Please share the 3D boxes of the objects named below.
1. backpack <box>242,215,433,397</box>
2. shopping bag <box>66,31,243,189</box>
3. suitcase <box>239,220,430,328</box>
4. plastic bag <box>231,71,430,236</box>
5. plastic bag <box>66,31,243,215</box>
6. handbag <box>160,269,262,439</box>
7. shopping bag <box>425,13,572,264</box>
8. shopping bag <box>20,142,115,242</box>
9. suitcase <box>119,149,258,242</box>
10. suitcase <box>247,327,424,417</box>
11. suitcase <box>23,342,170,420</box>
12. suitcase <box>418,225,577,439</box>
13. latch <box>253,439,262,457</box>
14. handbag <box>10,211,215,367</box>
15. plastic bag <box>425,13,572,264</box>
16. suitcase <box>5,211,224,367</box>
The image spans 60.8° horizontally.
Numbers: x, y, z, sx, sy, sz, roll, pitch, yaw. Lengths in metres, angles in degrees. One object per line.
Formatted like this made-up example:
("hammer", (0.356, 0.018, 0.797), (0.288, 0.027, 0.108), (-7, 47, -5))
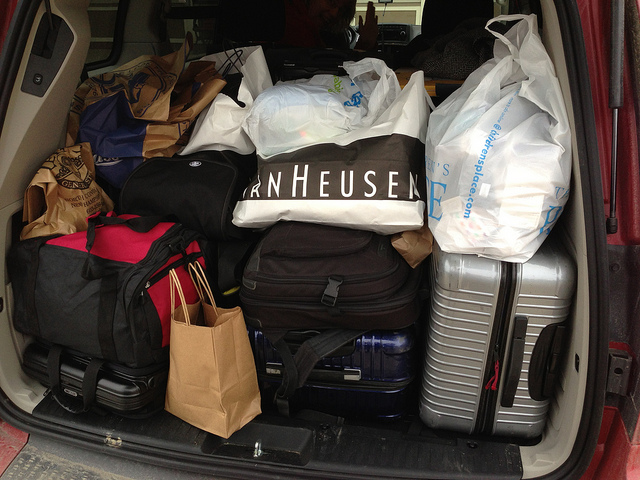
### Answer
("backpack", (0.069, 0.226, 1.945), (0.604, 0.216, 0.645), (1, 48, 7))
("shopping bag", (-0.696, -0.609, 2.343), (0.559, 0.221, 0.792), (42, 56, 13))
("suitcase", (0.031, 0.121, 1.862), (0.442, 0.166, 0.418), (2, 45, 3))
("plastic bag", (0.047, -0.312, 1.925), (0.662, 0.523, 0.282), (3, 22, 8))
("plastic bag", (-0.659, -0.585, 2.393), (0.575, 0.265, 0.825), (31, 72, 13))
("handbag", (-0.382, 0.372, 1.863), (0.306, 0.527, 0.236), (9, 21, 27))
("shopping bag", (0.576, -0.342, 1.879), (0.446, 0.818, 0.560), (8, 5, -18))
("shopping bag", (-0.938, -0.171, 2.088), (0.272, 0.364, 0.437), (6, 30, 6))
("suitcase", (-0.499, -0.229, 2.355), (0.521, 0.265, 0.684), (8, 21, 2))
("suitcase", (0.079, 0.459, 1.928), (0.519, 0.356, 0.382), (2, 2, 28))
("suitcase", (-0.817, 0.476, 2.090), (0.468, 0.180, 0.465), (16, 9, 8))
("suitcase", (0.524, 0.307, 1.998), (0.482, 0.676, 0.647), (4, 28, 5))
("latch", (-0.208, 0.692, 1.823), (0.020, 0.028, 0.035), (6, 17, 4))
("handbag", (-0.770, 0.130, 2.070), (0.663, 0.484, 0.544), (8, 18, 19))
("plastic bag", (0.581, -0.355, 1.867), (0.444, 0.819, 0.566), (7, 7, -20))
("suitcase", (-0.702, 0.009, 1.943), (0.627, 0.464, 0.523), (5, 13, 22))
